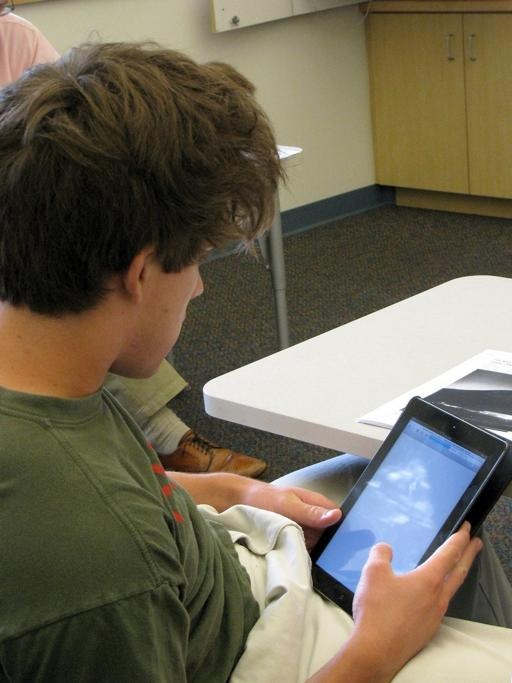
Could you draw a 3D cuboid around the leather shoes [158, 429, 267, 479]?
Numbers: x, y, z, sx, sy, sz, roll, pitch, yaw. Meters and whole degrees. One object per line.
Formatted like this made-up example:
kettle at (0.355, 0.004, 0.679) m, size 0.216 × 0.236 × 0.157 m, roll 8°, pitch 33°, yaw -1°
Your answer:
leather shoes at (-0.151, 0.341, 1.857) m, size 0.436 × 0.156 × 0.133 m, roll -2°, pitch -9°, yaw 37°
